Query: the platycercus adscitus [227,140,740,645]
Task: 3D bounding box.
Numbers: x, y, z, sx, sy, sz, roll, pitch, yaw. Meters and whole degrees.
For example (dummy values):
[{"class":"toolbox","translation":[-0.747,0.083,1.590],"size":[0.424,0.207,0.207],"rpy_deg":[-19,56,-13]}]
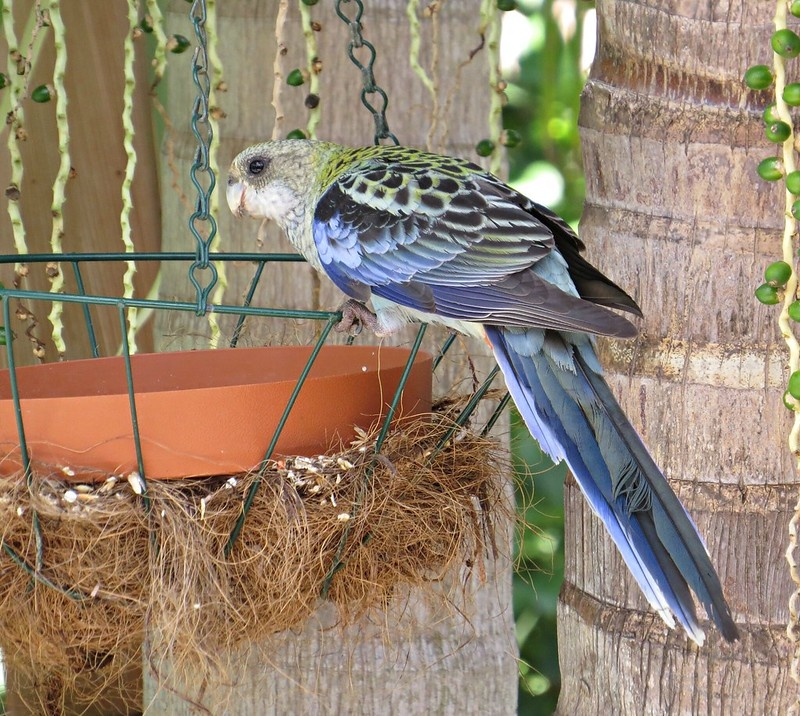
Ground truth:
[{"class":"platycercus adscitus","translation":[0.127,-0.014,2.394],"size":[0.924,0.369,0.247],"rpy_deg":[30,18,21]}]
